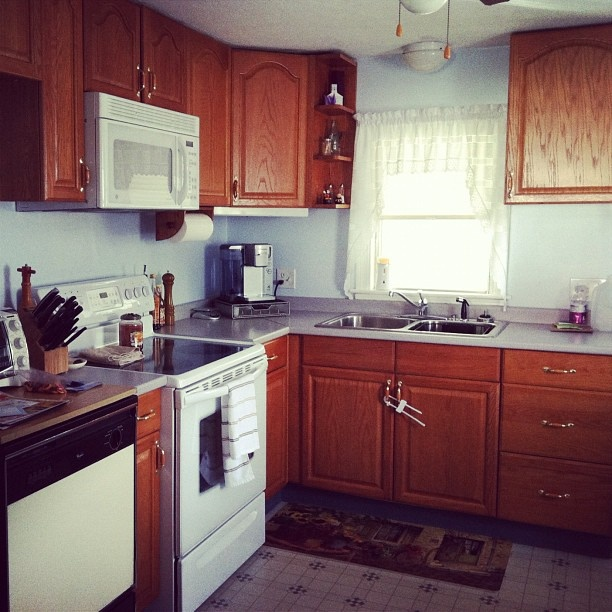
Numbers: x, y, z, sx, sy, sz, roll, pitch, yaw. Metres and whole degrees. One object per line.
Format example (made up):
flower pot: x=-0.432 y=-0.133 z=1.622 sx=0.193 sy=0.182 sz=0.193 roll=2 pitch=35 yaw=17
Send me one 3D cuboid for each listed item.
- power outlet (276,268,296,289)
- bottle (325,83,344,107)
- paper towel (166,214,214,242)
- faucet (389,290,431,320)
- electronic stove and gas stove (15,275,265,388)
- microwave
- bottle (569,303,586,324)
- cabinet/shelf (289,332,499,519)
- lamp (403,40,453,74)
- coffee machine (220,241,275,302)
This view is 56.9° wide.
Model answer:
power outlet: x=-0.122 y=-0.168 z=3.475 sx=0.121 sy=0.123 sz=0.012 roll=2 pitch=4 yaw=24
bottle: x=0.152 y=-1.148 z=3.089 sx=0.100 sy=0.146 sz=0.146 roll=1 pitch=5 yaw=16
paper towel: x=-0.558 y=-0.388 z=2.787 sx=0.110 sy=0.143 sz=0.213 roll=4 pitch=6 yaw=43
faucet: x=0.552 y=-0.012 z=3.094 sx=0.303 sy=0.181 sz=0.101 roll=5 pitch=-4 yaw=-40
electronic stove and gas stove: x=-0.591 y=0.065 z=2.190 sx=0.567 sy=0.353 sz=0.566 roll=2 pitch=6 yaw=27
microwave: x=-0.738 y=-0.601 z=2.309 sx=0.401 sy=0.363 sz=0.759 roll=4 pitch=12 yaw=12
bottle: x=1.364 y=0.037 z=2.822 sx=0.079 sy=0.104 sz=0.072 roll=2 pitch=5 yaw=25
cabinet/shelf: x=0.535 y=0.570 z=2.942 sx=1.028 sy=0.844 sz=0.583 roll=1 pitch=0 yaw=23
lamp: x=0.617 y=-1.281 z=2.909 sx=0.255 sy=0.121 sz=0.338 roll=1 pitch=5 yaw=11
coffee machine: x=-0.345 y=-0.195 z=3.229 sx=0.328 sy=0.310 sz=0.280 roll=-5 pitch=9 yaw=-37
